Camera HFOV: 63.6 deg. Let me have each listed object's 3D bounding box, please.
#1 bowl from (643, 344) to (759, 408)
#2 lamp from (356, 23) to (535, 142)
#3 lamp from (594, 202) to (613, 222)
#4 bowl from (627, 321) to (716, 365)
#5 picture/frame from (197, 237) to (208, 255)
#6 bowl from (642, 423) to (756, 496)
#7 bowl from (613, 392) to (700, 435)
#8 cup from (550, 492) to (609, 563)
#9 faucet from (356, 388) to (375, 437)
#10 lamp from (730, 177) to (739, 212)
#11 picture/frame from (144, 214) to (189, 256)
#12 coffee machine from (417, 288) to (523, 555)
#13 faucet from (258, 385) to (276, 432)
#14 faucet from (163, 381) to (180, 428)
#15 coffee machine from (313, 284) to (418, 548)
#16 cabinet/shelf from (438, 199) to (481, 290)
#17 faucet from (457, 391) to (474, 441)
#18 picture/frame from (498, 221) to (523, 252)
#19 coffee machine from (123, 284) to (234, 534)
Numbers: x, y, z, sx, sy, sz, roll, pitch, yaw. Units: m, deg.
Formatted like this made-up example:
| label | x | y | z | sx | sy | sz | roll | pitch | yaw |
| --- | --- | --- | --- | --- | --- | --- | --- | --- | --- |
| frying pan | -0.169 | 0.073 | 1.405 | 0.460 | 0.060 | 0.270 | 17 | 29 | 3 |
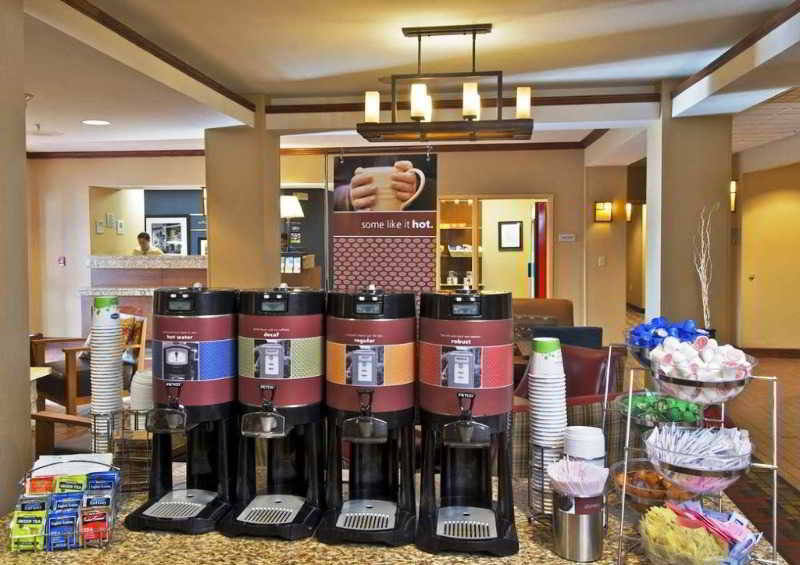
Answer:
| label | x | y | z | sx | sy | sz | roll | pitch | yaw |
| --- | --- | --- | --- | --- | --- | --- | --- | --- | --- |
| bowl | 0.900 | 0.323 | 1.945 | 0.292 | 0.166 | 0.274 | 7 | -12 | 1 |
| lamp | 0.387 | -1.476 | 5.102 | 1.280 | 0.636 | 1.077 | -1 | 0 | 11 |
| lamp | 2.696 | -0.919 | 8.521 | 0.272 | 0.248 | 0.257 | 1 | -1 | 0 |
| bowl | 0.890 | 0.175 | 2.146 | 0.207 | 0.110 | 0.205 | 2 | -3 | 0 |
| picture/frame | -3.551 | -0.672 | 11.564 | 0.118 | 0.288 | 0.327 | -1 | 0 | -27 |
| bowl | 0.867 | 0.518 | 1.875 | 0.288 | 0.187 | 0.211 | -1 | 0 | 11 |
| bowl | 0.857 | 0.420 | 2.138 | 0.190 | 0.075 | 0.184 | 0 | -7 | 0 |
| cup | 0.546 | 0.709 | 1.952 | 0.187 | 0.185 | 0.184 | -1 | 0 | 0 |
| faucet | -0.101 | 0.402 | 1.985 | 0.049 | 0.101 | 0.048 | -1 | 0 | -9 |
| lamp | 4.328 | -1.116 | 8.319 | 0.069 | 0.415 | 0.218 | -1 | 0 | 20 |
| picture/frame | -4.087 | -0.869 | 11.274 | 0.934 | 0.978 | 0.046 | 0 | 3 | 1 |
| coffee machine | 0.203 | 0.422 | 1.997 | 0.302 | 0.629 | 0.176 | -1 | 0 | 8 |
| faucet | -0.409 | 0.391 | 2.011 | 0.047 | 0.136 | 0.077 | -1 | 0 | -14 |
| faucet | -0.721 | 0.391 | 2.053 | 0.045 | 0.142 | 0.053 | -1 | 0 | -18 |
| coffee machine | -0.105 | 0.414 | 2.040 | 0.306 | 0.555 | 0.182 | -1 | 0 | 4 |
| cabinet/shelf | 0.835 | -0.506 | 8.977 | 0.612 | 1.345 | 0.196 | 0 | 2 | 16 |
| faucet | 0.204 | 0.410 | 1.954 | 0.057 | 0.126 | 0.059 | -1 | 0 | 4 |
| picture/frame | 1.755 | -0.715 | 10.051 | 0.509 | 0.570 | 0.043 | 1 | 1 | 9 |
| coffee machine | -0.700 | 0.402 | 2.077 | 0.314 | 0.752 | 0.174 | -1 | 0 | 10 |
